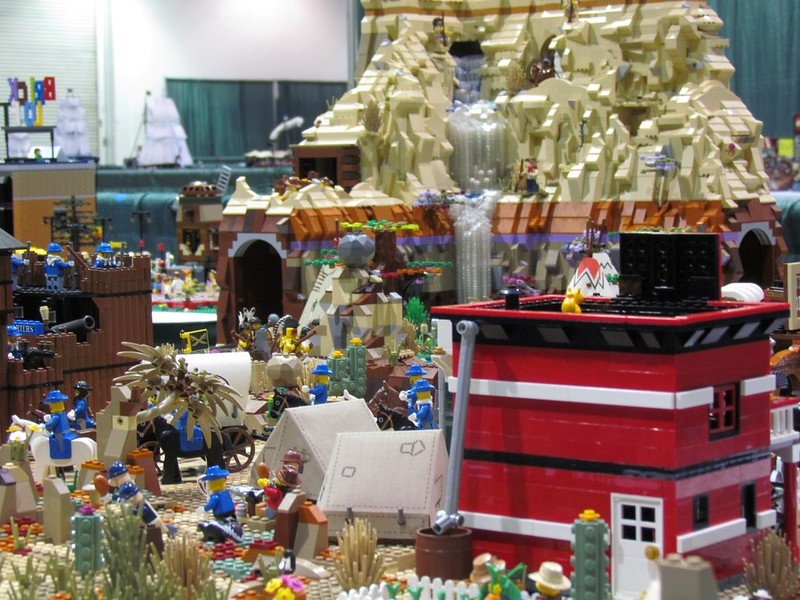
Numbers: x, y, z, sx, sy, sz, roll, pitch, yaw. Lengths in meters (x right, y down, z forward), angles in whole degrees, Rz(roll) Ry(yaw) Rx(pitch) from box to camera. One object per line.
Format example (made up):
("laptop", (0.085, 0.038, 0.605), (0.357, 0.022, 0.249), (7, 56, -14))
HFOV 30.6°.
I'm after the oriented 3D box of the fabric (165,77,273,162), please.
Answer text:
("fabric", (-4.091, -4.191, 33.056), (2.294, 1.842, 0.109), (-3, 31, -9))
